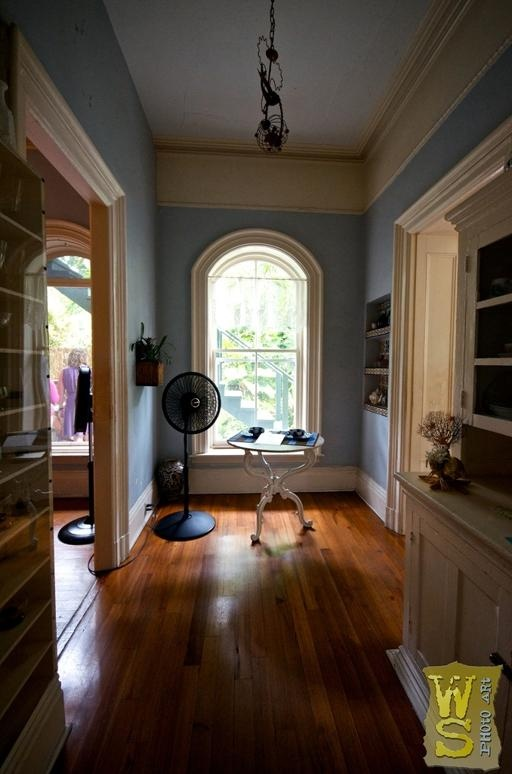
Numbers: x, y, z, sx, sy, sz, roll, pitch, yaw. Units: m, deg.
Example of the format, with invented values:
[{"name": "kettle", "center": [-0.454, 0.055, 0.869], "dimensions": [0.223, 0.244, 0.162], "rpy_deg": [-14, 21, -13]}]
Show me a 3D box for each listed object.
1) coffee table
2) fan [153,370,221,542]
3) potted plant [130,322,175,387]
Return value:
[{"name": "coffee table", "center": [0.109, 0.631, 3.307], "dimensions": [0.534, 0.623, 0.583], "rpy_deg": [2, 8, 31]}, {"name": "fan", "center": [-0.512, 0.413, 3.414], "dimensions": [0.452, 1.059, 0.623], "rpy_deg": [-6, 11, -33]}, {"name": "potted plant", "center": [-0.695, -0.197, 3.340], "dimensions": [0.204, 0.405, 0.258], "rpy_deg": [-3, -2, 1]}]
